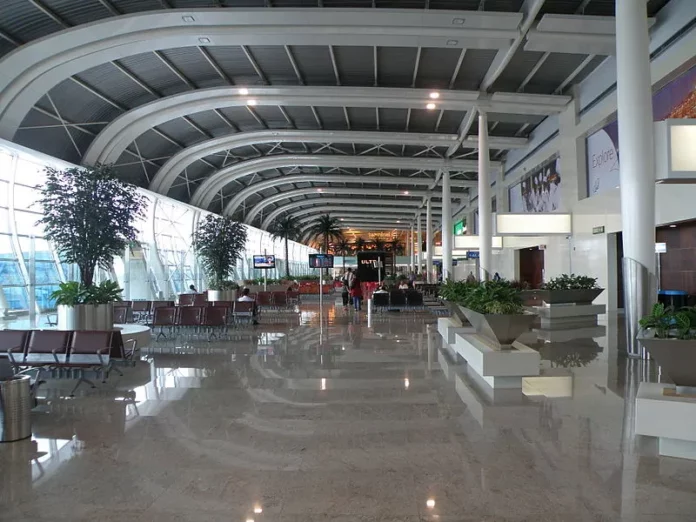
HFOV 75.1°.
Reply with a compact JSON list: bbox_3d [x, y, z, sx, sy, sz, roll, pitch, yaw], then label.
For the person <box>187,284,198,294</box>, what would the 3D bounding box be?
[{"bbox_3d":[-9.103,1.653,26.489,0.453,0.516,1.189,3,-7,-12],"label":"person"}]
